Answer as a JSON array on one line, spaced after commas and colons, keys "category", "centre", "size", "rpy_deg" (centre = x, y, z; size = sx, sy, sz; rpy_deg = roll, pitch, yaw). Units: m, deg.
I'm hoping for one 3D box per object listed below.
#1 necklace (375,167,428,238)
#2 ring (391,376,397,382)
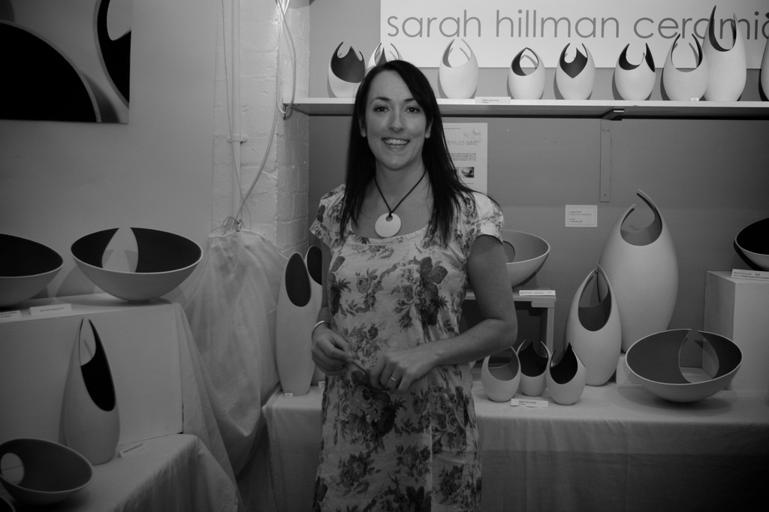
[{"category": "necklace", "centre": [0.026, -0.164, 1.806], "size": [0.122, 0.025, 0.263], "rpy_deg": [3, 55, 13]}, {"category": "ring", "centre": [0.030, 0.356, 1.620], "size": [0.017, 0.015, 0.005], "rpy_deg": [1, 11, 3]}]
